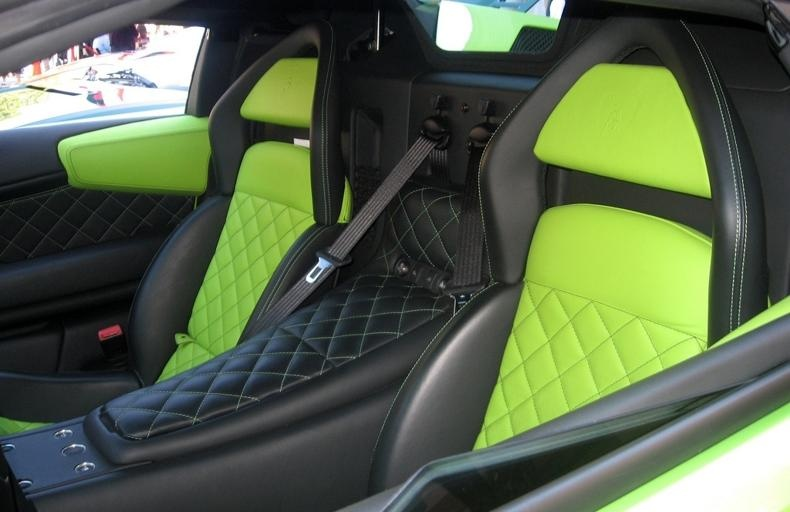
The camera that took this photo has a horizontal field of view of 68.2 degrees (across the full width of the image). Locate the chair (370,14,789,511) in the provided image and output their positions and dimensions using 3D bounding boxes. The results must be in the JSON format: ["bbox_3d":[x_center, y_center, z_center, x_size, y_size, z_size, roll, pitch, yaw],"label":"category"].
[{"bbox_3d":[0.328,-0.181,1.729,1.039,1.520,0.861,-12,24,-30],"label":"chair"}]
